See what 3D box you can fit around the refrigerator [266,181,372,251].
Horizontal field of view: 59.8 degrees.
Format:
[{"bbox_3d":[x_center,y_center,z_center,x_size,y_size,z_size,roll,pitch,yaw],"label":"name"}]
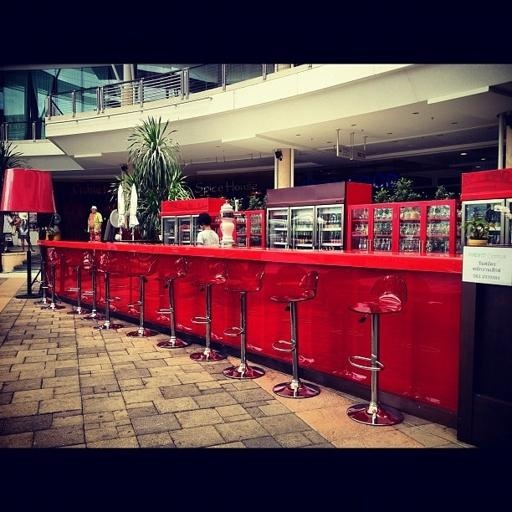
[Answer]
[{"bbox_3d":[1.385,-0.814,9.516,0.671,1.439,1.788,1,0,-36],"label":"refrigerator"}]
